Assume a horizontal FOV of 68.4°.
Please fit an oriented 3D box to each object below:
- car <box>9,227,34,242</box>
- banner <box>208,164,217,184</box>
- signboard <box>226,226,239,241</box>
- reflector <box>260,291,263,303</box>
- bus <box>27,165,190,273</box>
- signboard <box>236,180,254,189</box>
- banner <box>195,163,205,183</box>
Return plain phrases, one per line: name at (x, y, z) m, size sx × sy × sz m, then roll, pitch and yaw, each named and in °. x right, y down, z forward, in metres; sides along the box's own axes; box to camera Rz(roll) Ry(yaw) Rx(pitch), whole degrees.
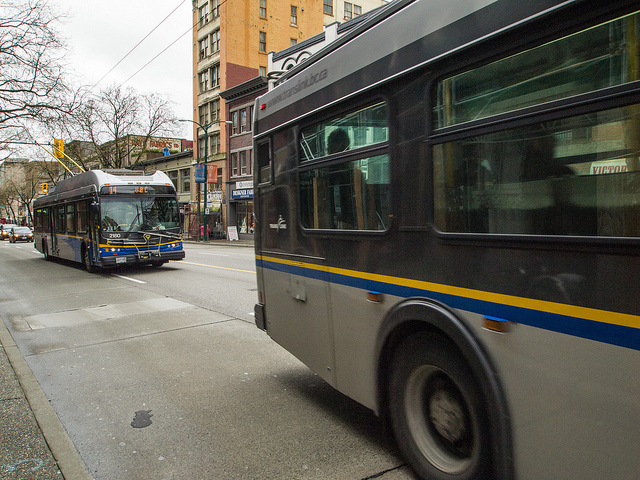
car at (-31.218, -0.559, 49.394) m, size 1.300 × 1.172 × 2.348 m, roll -1°, pitch -4°, yaw -40°
banner at (-9.273, -5.777, 40.668) m, size 0.735 × 1.567 × 3.007 m, roll -2°, pitch 6°, yaw -12°
signboard at (-7.159, -0.517, 38.319) m, size 0.936 × 1.275 × 0.446 m, roll 0°, pitch -5°, yaw -37°
reflector at (-0.735, 0.701, 5.859) m, size 0.021 × 0.094 × 0.095 m, roll 2°, pitch 3°, yaw -10°
bus at (-9.438, -0.675, 20.368) m, size 3.389 × 4.323 × 12.067 m, roll -1°, pitch -1°, yaw -33°
signboard at (-6.239, -4.523, 38.483) m, size 0.380 × 0.642 × 2.322 m, roll -5°, pitch 7°, yaw -38°
banner at (-9.860, -5.479, 38.723) m, size 0.748 × 1.363 × 1.426 m, roll -3°, pitch 5°, yaw -18°
